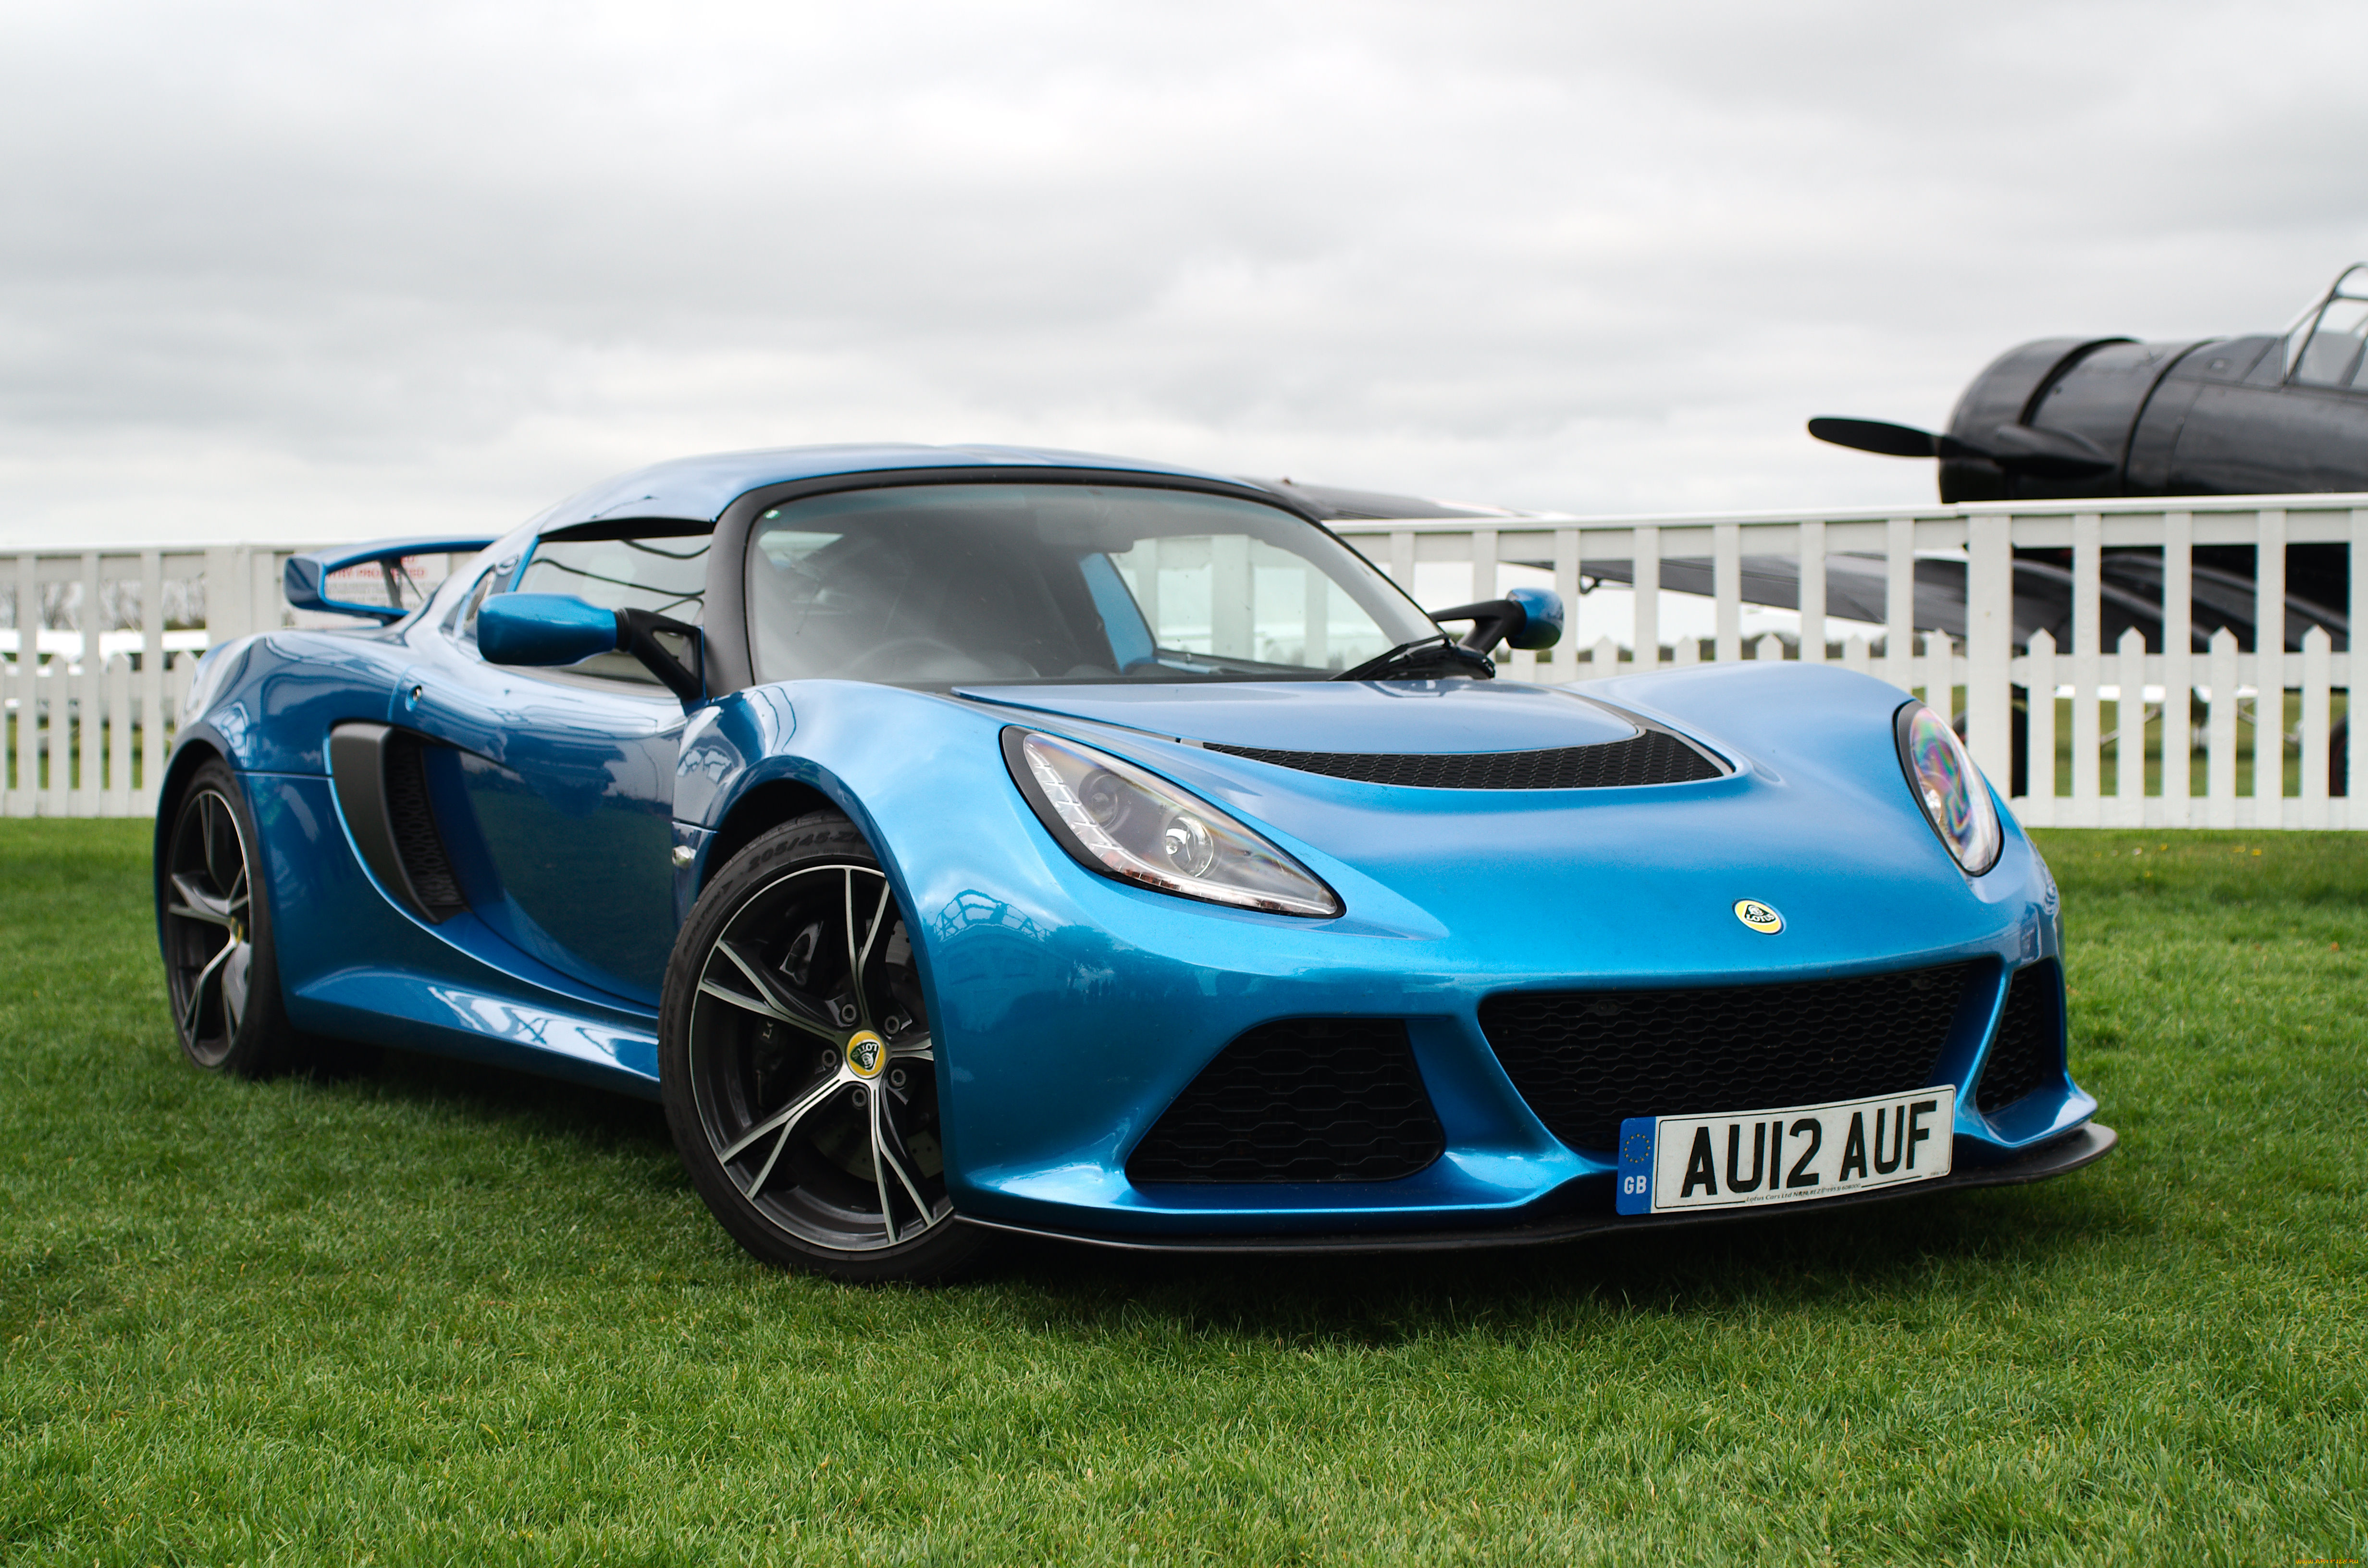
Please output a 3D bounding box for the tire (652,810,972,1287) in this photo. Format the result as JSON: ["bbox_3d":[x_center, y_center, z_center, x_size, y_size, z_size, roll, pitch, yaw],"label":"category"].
[{"bbox_3d":[-0.730,0.518,4.665,0.762,0.888,0.240,7,11,43],"label":"tire"}]

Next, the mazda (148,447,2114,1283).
[{"bbox_3d":[-0.613,0.040,6.493,2.928,1.753,5.398,-3,3,-41],"label":"mazda"}]
